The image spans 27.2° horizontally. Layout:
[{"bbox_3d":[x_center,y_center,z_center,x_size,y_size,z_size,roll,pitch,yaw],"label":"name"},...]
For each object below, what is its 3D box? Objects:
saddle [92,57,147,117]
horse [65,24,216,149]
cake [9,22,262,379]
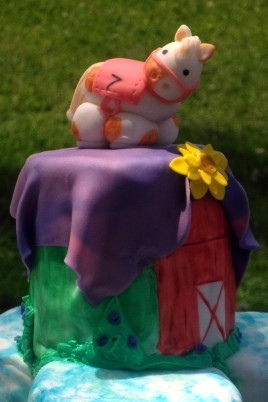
[{"bbox_3d":[-0.052,-0.598,2.850,0.354,0.257,0.293,15,27,14],"label":"saddle"},{"bbox_3d":[0.017,-0.569,2.905,0.803,0.526,0.483,16,24,31],"label":"horse"},{"bbox_3d":[0.157,-0.101,2.776,1.104,1.710,1.286,-18,29,-36],"label":"cake"}]
